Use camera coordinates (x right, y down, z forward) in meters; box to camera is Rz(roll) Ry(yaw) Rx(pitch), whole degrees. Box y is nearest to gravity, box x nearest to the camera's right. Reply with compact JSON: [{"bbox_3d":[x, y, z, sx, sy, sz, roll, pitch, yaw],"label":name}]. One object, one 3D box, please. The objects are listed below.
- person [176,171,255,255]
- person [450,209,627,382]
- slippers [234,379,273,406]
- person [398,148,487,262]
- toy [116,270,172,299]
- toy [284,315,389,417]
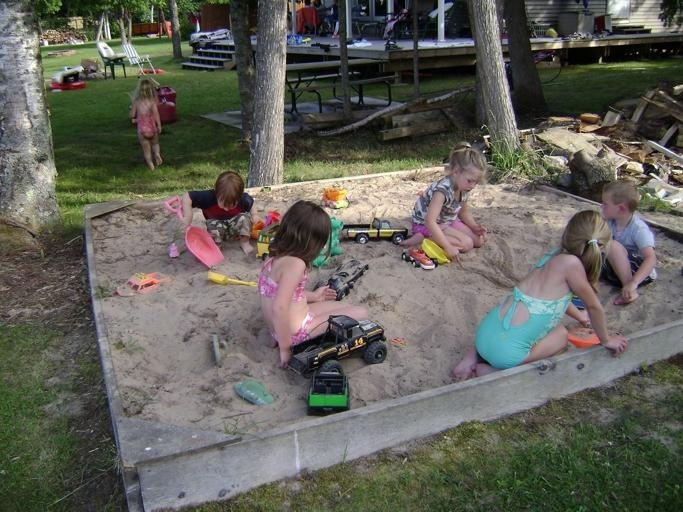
[{"bbox_3d":[-1.358,-0.513,6.059,0.839,0.739,1.450,2,14,-7],"label":"person"},{"bbox_3d":[1.542,0.325,4.353,1.398,1.314,0.597,-5,24,-15],"label":"person"},{"bbox_3d":[-0.623,0.987,4.131,0.218,0.057,0.318,-22,32,-39],"label":"slippers"},{"bbox_3d":[1.101,-0.609,5.810,0.750,1.104,0.700,18,23,40],"label":"person"},{"bbox_3d":[-1.906,0.246,5.428,0.525,0.094,0.336,-21,31,-38],"label":"toy"},{"bbox_3d":[0.026,0.850,4.286,0.842,0.429,0.459,-32,39,-28],"label":"toy"}]
